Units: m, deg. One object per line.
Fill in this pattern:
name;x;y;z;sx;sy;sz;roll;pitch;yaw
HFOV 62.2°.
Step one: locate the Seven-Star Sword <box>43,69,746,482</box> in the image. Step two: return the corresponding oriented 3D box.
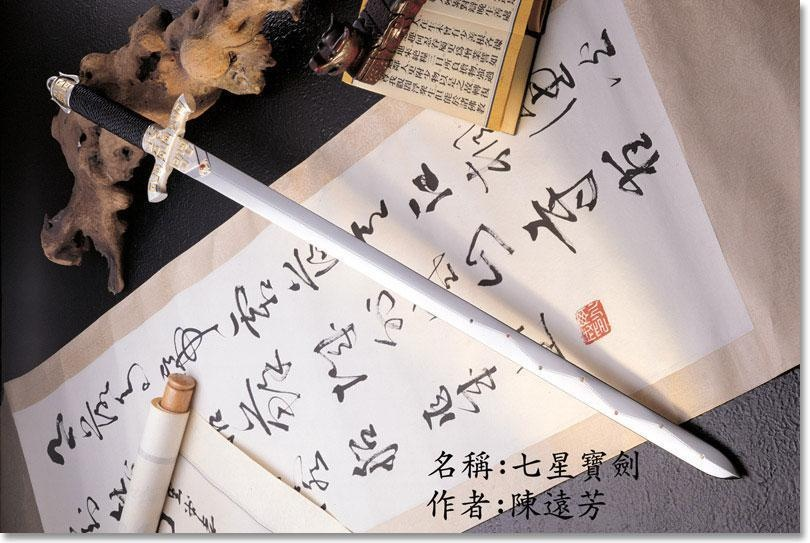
Seven-Star Sword;0.032;-0.005;1.687;1.844;0.081;0.316;30;48;1
